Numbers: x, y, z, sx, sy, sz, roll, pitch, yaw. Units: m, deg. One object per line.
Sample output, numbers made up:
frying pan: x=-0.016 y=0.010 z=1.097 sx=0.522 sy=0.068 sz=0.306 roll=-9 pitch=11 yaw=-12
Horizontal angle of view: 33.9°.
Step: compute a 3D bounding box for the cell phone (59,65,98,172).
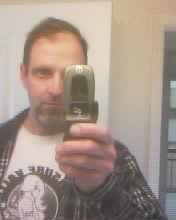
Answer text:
cell phone: x=-0.023 y=-0.033 z=0.880 sx=0.103 sy=0.224 sz=0.089 roll=-1 pitch=0 yaw=-3
